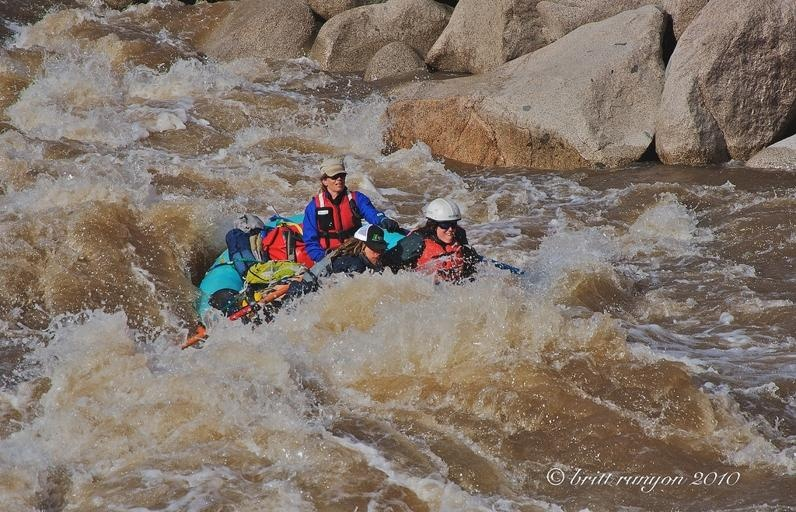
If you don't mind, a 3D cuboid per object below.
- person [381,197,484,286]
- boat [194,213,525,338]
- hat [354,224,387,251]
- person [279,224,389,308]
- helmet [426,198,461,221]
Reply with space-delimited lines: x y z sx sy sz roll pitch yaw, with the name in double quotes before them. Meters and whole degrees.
"person" 0.581 -0.189 22.166 0.571 1.465 1.585 35 122 56
"boat" -1.637 0.402 22.417 3.557 1.195 2.573 2 30 15
"hat" -0.405 -0.297 21.440 0.497 0.342 0.182 31 115 23
"person" -0.950 0.121 21.461 1.711 0.610 0.670 -26 56 -4
"helmet" 0.684 -0.743 21.570 0.463 0.358 0.230 4 100 42
